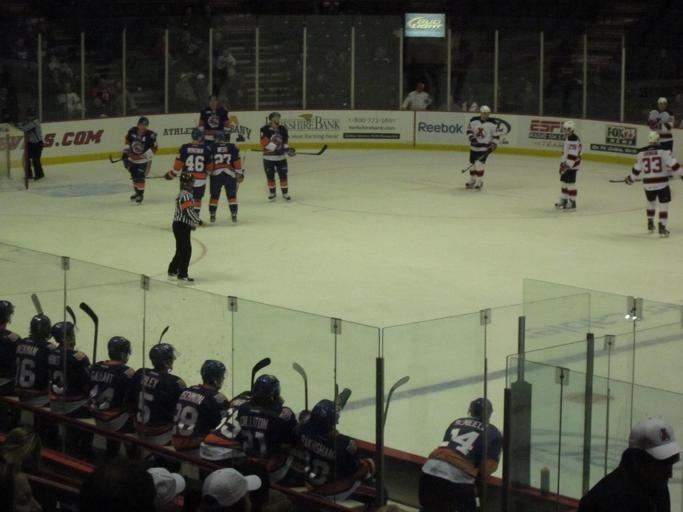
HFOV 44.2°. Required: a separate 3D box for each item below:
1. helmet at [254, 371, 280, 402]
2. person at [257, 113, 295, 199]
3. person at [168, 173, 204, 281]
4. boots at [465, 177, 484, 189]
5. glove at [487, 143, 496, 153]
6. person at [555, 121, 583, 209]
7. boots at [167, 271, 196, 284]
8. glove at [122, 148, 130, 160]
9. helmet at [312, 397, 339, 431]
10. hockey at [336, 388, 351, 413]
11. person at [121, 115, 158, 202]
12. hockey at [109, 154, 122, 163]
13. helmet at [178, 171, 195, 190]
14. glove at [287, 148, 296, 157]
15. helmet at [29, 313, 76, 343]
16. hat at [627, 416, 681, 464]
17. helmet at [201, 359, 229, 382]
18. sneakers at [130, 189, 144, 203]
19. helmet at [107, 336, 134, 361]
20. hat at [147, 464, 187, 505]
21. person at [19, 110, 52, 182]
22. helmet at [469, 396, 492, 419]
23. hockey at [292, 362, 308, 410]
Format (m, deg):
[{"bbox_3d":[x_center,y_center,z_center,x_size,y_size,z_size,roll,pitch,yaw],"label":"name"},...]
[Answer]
[{"bbox_3d":[-0.558,0.987,6.291,0.159,0.173,0.202,1,0,6],"label":"helmet"},{"bbox_3d":[-1.245,-1.937,16.465,0.612,1.712,1.089,2,4,-4],"label":"person"},{"bbox_3d":[-2.126,-0.372,11.373,0.387,1.453,0.811,2,4,-12],"label":"person"},{"bbox_3d":[2.758,-1.480,17.449,0.464,0.297,0.143,2,9,-8],"label":"boots"},{"bbox_3d":[3.151,-2.243,17.635,0.141,0.152,0.404,7,9,16],"label":"glove"},{"bbox_3d":[4.196,-1.671,15.531,0.383,1.638,0.967,3,4,14],"label":"person"},{"bbox_3d":[-2.216,0.308,11.491,0.435,0.168,0.140,7,17,-18],"label":"boots"},{"bbox_3d":[-4.171,-1.964,16.261,0.124,0.225,0.311,1,4,-14],"label":"glove"},{"bbox_3d":[-0.101,1.163,6.268,0.176,0.198,0.229,5,24,6],"label":"helmet"},{"bbox_3d":[0.022,1.051,6.216,0.069,0.212,0.032,25,2,6],"label":"hockey"},{"bbox_3d":[-3.884,-1.820,16.160,0.610,1.614,0.515,1,4,-15],"label":"person"},{"bbox_3d":[-5.238,-2.237,19.443,0.438,0.073,1.311,-22,14,-10],"label":"hockey"},{"bbox_3d":[-2.025,-0.980,11.071,0.205,0.235,0.245,6,18,3],"label":"helmet"},{"bbox_3d":[-0.985,-2.018,16.497,0.232,0.096,0.297,0,5,-1],"label":"glove"},{"bbox_3d":[-2.508,0.632,7.287,0.373,0.182,0.221,4,27,6],"label":"helmet"},{"bbox_3d":[1.618,0.937,4.378,0.194,0.133,0.257,-10,17,-42],"label":"hat"},{"bbox_3d":[-1.003,0.904,6.680,0.143,0.158,0.189,8,14,34],"label":"helmet"},{"bbox_3d":[-3.930,-1.158,16.146,0.148,0.278,0.403,-7,30,-40],"label":"sneakers"},{"bbox_3d":[-1.811,0.752,7.010,0.168,0.210,0.219,7,15,14],"label":"helmet"},{"bbox_3d":[-1.004,1.323,4.815,0.187,0.208,0.451,2,4,-9],"label":"hat"},{"bbox_3d":[-6.582,-2.344,17.855,0.486,1.509,1.076,2,4,-11],"label":"person"},{"bbox_3d":[1.009,1.110,6.154,0.159,0.143,0.124,35,-33,-17],"label":"helmet"},{"bbox_3d":[-0.308,0.983,6.353,0.145,0.357,0.037,5,5,33],"label":"hockey"}]
